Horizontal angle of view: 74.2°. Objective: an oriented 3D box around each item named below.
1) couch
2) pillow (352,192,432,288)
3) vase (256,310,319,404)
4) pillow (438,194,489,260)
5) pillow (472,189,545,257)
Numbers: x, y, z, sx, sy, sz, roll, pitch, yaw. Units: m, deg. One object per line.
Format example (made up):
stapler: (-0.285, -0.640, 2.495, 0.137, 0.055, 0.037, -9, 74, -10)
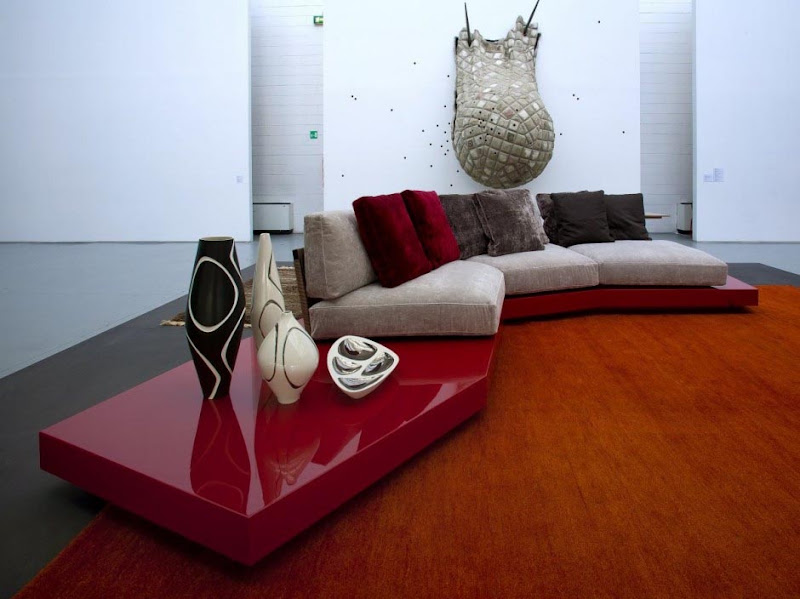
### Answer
couch: (0.823, -0.343, 3.515, 3.174, 0.847, 1.313, -14, 17, -28)
pillow: (-0.050, -0.312, 2.881, 0.144, 0.512, 0.485, -24, -7, 29)
vase: (-0.445, 0.242, 2.032, 0.255, 0.390, 0.277, 5, -1, -26)
pillow: (0.495, -0.553, 3.959, 0.157, 0.467, 0.427, -27, -15, 40)
pillow: (0.788, -0.607, 4.086, 0.538, 0.554, 0.165, -10, -13, -38)
